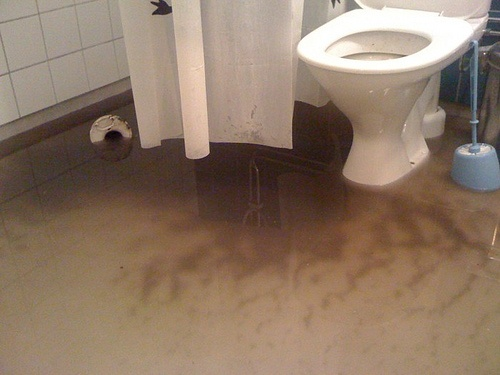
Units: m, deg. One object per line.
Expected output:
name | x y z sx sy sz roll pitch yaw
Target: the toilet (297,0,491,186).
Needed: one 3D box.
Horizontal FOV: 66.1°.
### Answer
toilet | 0.552 -0.394 1.548 0.591 0.518 0.756 25 57 36
